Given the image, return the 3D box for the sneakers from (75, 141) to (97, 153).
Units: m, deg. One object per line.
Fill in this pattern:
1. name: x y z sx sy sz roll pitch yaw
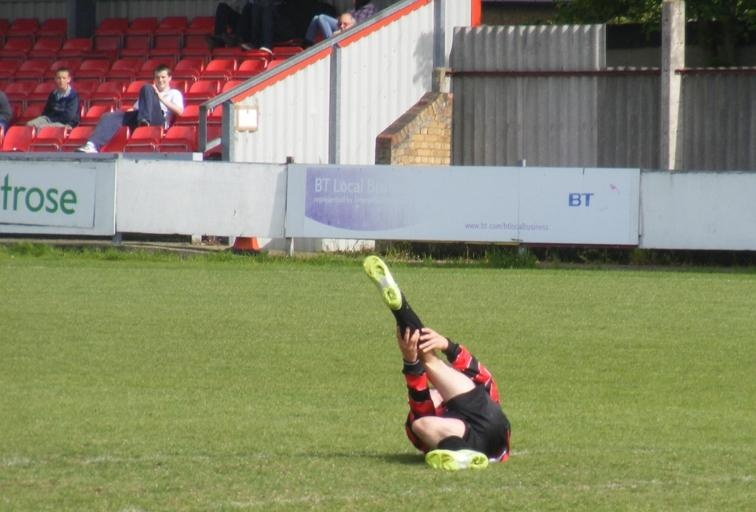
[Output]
1. sneakers: -7.198 -2.558 46.090 0.260 0.302 0.657 14 5 28

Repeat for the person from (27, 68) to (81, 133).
1. person: -8.248 -3.881 47.658 1.214 1.755 1.025 -1 14 -11

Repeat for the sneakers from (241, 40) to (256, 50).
1. sneakers: -3.523 -5.577 50.644 0.382 0.283 0.260 0 14 -5
